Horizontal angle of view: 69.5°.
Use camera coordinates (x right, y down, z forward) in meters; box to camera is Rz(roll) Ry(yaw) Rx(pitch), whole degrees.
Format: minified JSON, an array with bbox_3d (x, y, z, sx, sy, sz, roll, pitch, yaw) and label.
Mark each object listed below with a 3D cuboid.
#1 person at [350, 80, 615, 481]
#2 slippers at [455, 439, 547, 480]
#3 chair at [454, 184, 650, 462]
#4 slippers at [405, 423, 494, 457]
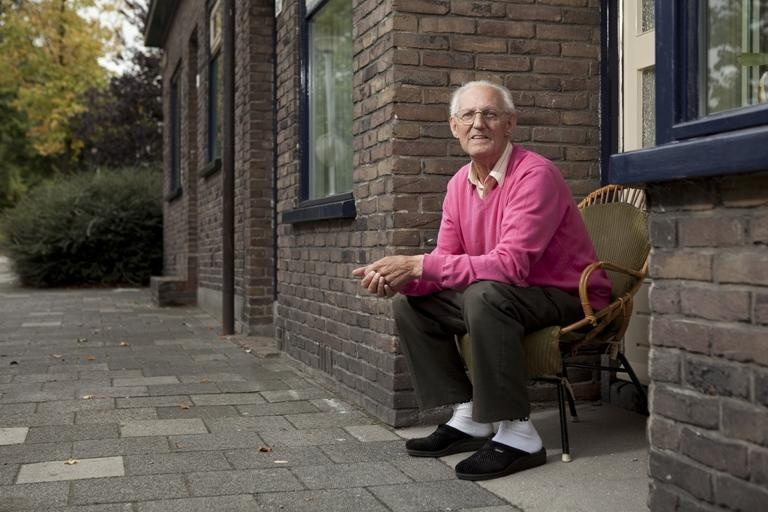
[{"bbox_3d":[0.589,0.109,3.231,1.352,2.102,0.941,-1,0,-40],"label":"person"},{"bbox_3d":[0.630,1.076,2.951,0.537,0.158,0.149,1,2,-28],"label":"slippers"},{"bbox_3d":[1.133,0.313,3.469,1.000,1.363,0.952,-5,3,-33],"label":"chair"},{"bbox_3d":[0.374,1.023,3.199,0.466,0.158,0.188,-2,-3,-22],"label":"slippers"}]
